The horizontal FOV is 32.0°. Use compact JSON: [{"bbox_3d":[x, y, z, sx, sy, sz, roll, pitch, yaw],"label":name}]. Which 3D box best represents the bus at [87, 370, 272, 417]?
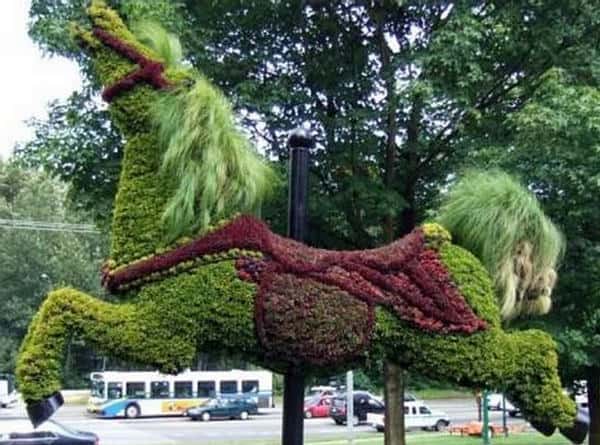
[{"bbox_3d":[-3.865,5.426,33.105,5.384,1.720,0.962,7,-13,-19],"label":"bus"}]

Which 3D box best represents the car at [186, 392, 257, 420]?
[{"bbox_3d":[-2.468,5.949,33.502,1.946,0.636,0.886,7,-13,-27],"label":"car"}]
